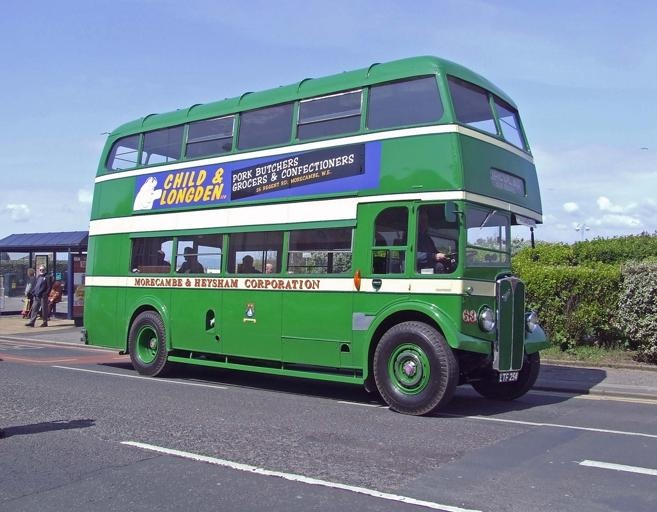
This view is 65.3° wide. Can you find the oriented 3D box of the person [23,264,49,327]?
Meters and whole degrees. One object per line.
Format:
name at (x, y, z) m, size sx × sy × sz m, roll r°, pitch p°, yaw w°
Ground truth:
person at (-13.381, 1.805, 24.066) m, size 1.014 × 2.866 × 0.939 m, roll 9°, pitch 13°, yaw 25°
